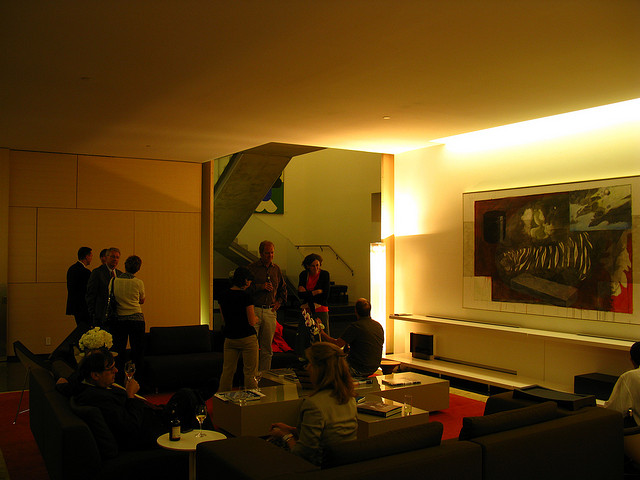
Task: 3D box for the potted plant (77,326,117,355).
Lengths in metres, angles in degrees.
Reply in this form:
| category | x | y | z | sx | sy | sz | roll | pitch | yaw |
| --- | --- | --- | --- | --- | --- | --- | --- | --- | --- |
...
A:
| category | x | y | z | sx | sy | sz | roll | pitch | yaw |
| --- | --- | --- | --- | --- | --- | --- | --- | --- | --- |
| potted plant | -2.232 | 1.103 | 5.367 | 0.376 | 0.252 | 0.320 | -36 | -27 | 19 |

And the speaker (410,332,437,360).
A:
| category | x | y | z | sx | sy | sz | roll | pitch | yaw |
| --- | --- | --- | --- | --- | --- | --- | --- | --- | --- |
| speaker | 1.683 | 1.722 | 8.445 | 0.151 | 0.388 | 0.429 | -1 | 1 | -38 |

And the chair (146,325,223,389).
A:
| category | x | y | z | sx | sy | sz | roll | pitch | yaw |
| --- | --- | --- | --- | --- | --- | --- | --- | --- | --- |
| chair | -1.884 | 1.625 | 7.352 | 1.176 | 0.803 | 0.833 | 3 | -5 | -30 |

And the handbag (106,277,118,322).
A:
| category | x | y | z | sx | sy | sz | roll | pitch | yaw |
| --- | --- | --- | --- | --- | --- | --- | --- | --- | --- |
| handbag | -2.701 | 0.784 | 6.733 | 0.165 | 0.543 | 0.062 | -3 | -1 | 28 |

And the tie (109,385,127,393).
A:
| category | x | y | z | sx | sy | sz | roll | pitch | yaw |
| --- | --- | --- | --- | --- | --- | --- | --- | --- | --- |
| tie | -1.758 | 1.285 | 4.504 | 0.091 | 0.032 | 0.088 | 5 | -8 | -14 |

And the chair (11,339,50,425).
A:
| category | x | y | z | sx | sy | sz | roll | pitch | yaw |
| --- | --- | --- | --- | --- | --- | --- | --- | --- | --- |
| chair | -3.189 | 1.572 | 5.917 | 0.604 | 0.891 | 0.767 | 1 | -12 | -25 |

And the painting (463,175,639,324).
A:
| category | x | y | z | sx | sy | sz | roll | pitch | yaw |
| --- | --- | --- | --- | --- | --- | --- | --- | --- | --- |
| painting | 3.008 | 0.132 | 6.897 | 2.233 | 1.747 | 0.302 | -3 | -2 | 45 |

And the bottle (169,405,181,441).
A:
| category | x | y | z | sx | sy | sz | roll | pitch | yaw |
| --- | --- | --- | --- | --- | --- | --- | --- | --- | --- |
| bottle | -1.097 | 1.390 | 3.898 | 0.075 | 0.184 | 0.133 | -2 | -1 | -17 |
